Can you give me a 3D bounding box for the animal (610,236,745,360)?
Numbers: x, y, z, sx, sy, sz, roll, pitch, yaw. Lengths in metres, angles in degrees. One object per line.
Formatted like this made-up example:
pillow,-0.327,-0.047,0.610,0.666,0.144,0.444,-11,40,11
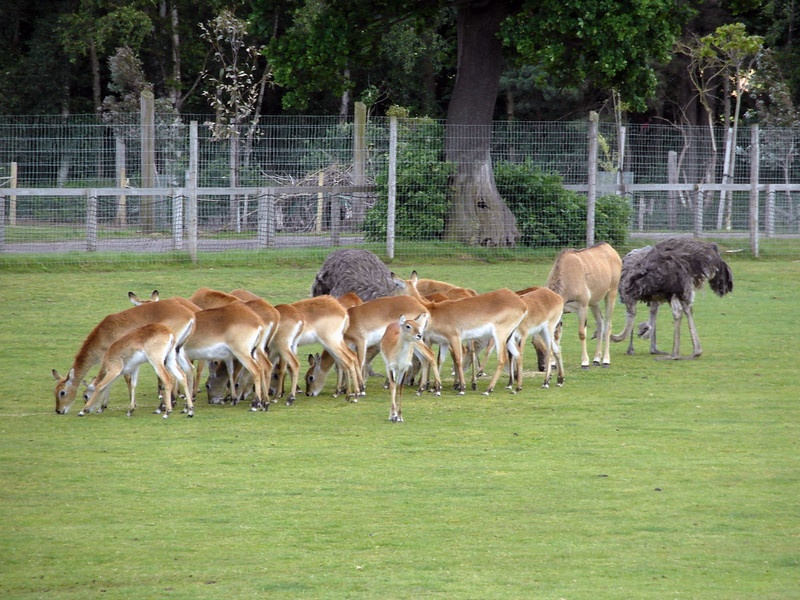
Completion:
animal,4.670,-0.094,28.358,3.367,2.103,1.092,3,-2,-40
